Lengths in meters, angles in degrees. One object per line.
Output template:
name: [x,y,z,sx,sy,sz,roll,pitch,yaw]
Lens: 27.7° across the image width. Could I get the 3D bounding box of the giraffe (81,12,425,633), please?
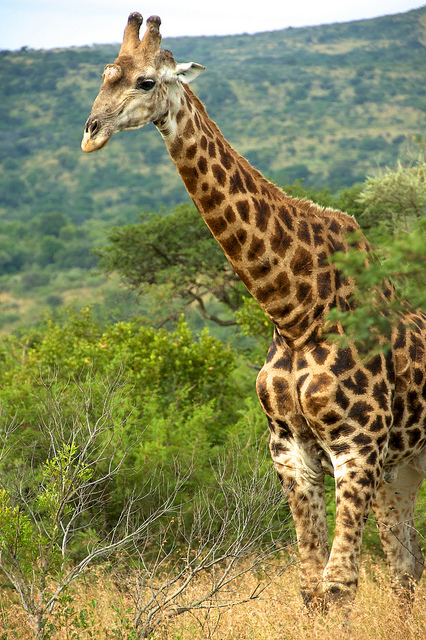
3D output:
giraffe: [0.684,0.317,6.118,1.981,5.081,2.331,-8,14,3]
